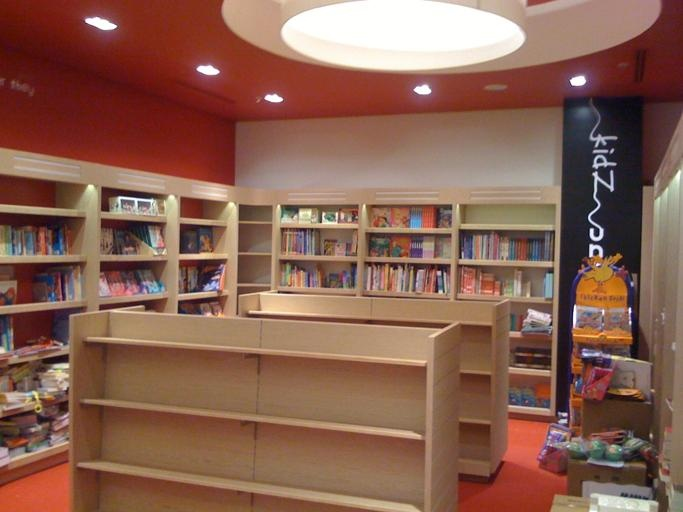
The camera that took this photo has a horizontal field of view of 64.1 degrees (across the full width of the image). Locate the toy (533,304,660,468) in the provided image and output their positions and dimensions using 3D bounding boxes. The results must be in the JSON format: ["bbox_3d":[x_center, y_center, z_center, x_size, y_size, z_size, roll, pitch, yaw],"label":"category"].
[{"bbox_3d":[2.266,1.473,4.961,0.630,1.332,1.291,1,-1,-8],"label":"toy"}]
